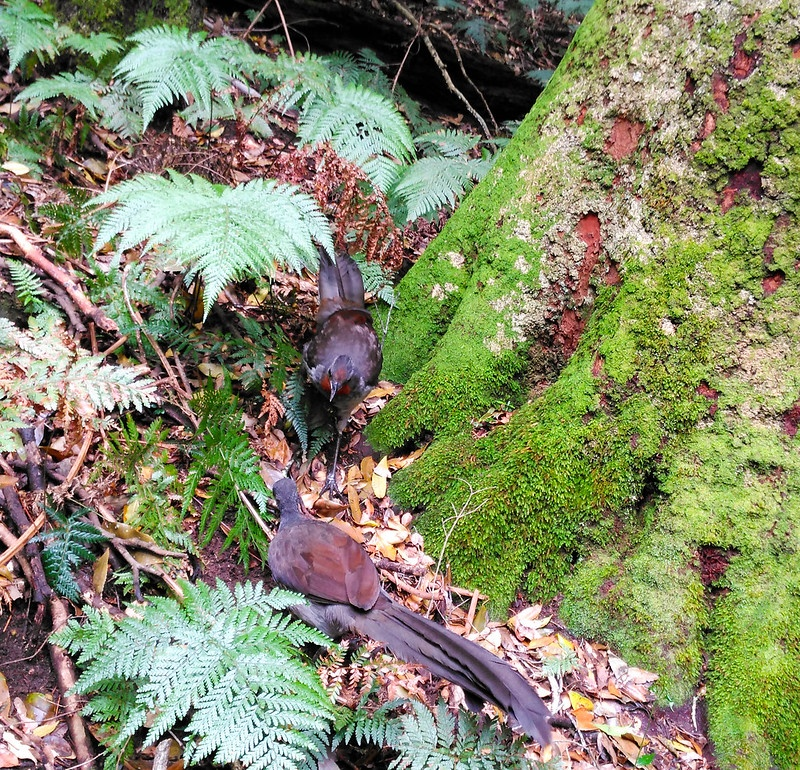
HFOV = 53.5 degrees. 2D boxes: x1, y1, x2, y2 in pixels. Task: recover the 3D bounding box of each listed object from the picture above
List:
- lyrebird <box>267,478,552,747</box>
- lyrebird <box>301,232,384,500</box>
[{"bbox_3d":[-0.079,1.240,4.016,1.838,0.871,0.471,24,20,31],"label":"lyrebird"},{"bbox_3d":[-0.402,-0.074,5.003,0.408,1.658,0.897,2,9,-4],"label":"lyrebird"}]
